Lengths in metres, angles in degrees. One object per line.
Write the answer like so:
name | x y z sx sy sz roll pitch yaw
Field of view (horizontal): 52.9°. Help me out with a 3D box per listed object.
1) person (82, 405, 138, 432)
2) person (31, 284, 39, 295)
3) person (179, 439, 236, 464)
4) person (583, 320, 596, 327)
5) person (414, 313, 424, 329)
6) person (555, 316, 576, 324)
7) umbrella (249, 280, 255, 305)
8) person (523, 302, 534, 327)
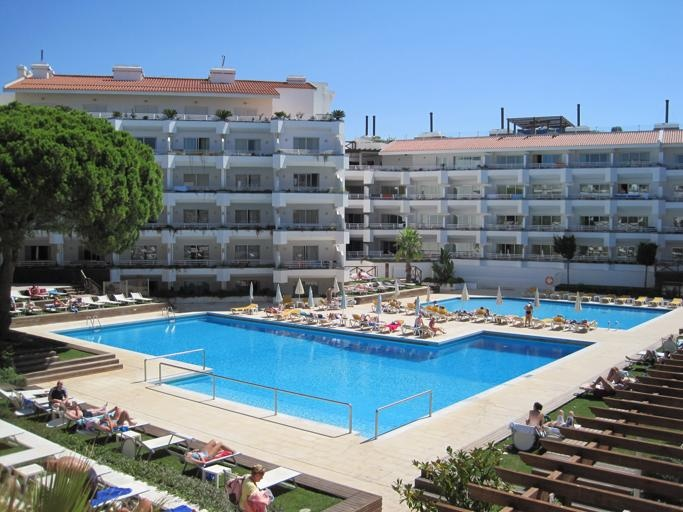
person | -7.808 5.529 23.038 1.128 0.442 1.111 -1 4 -34
person | -21.548 2.319 47.964 0.582 0.803 0.357 1 -9 -10
person | -4.009 5.896 20.659 1.063 0.320 0.744 -6 10 -40
person | 15.415 4.218 42.490 0.605 0.482 0.786 -3 -6 35
person | 4.658 3.934 41.575 0.638 1.117 0.840 0 5 17
person | 14.102 4.017 43.502 0.612 0.269 0.768 3 3 32
umbrella | -7.115 2.920 54.336 0.397 0.394 1.940 3 -39 -6
person | 12.056 3.793 44.020 0.542 1.263 1.192 -1 -2 13
